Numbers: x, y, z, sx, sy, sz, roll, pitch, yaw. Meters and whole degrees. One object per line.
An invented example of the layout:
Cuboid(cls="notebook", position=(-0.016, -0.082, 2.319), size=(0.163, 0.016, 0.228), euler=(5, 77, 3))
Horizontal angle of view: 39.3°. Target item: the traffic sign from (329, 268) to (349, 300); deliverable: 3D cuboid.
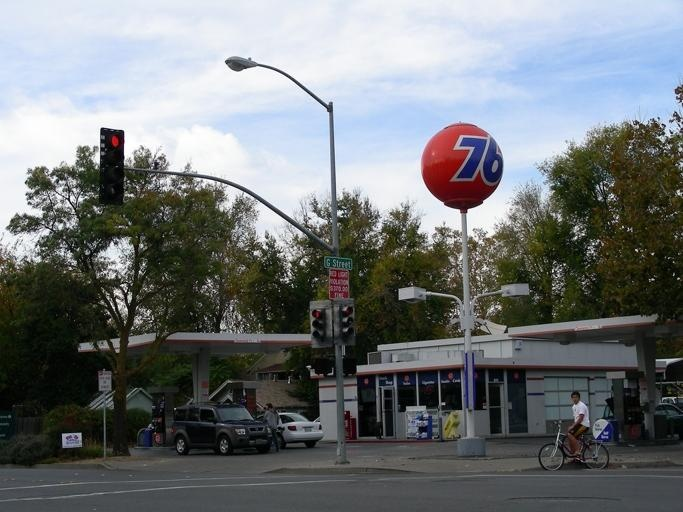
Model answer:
Cuboid(cls="traffic sign", position=(-0.103, 0.935, 32.769), size=(0.134, 1.171, 0.919), euler=(-3, 0, 44))

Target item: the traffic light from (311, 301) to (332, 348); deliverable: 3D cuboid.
Cuboid(cls="traffic light", position=(-0.662, 2.252, 32.457), size=(0.737, 1.582, 0.451), euler=(-1, -8, -2))

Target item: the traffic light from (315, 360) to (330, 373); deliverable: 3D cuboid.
Cuboid(cls="traffic light", position=(-0.608, 3.663, 31.965), size=(0.413, 0.465, 0.428), euler=(1, 0, -44))

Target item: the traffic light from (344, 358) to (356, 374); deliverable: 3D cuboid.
Cuboid(cls="traffic light", position=(0.286, 3.651, 32.031), size=(0.392, 0.637, 0.579), euler=(0, -1, -10))
